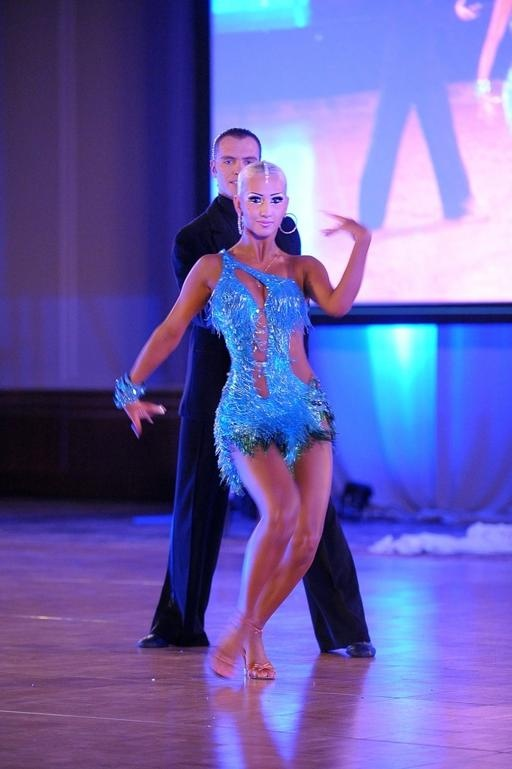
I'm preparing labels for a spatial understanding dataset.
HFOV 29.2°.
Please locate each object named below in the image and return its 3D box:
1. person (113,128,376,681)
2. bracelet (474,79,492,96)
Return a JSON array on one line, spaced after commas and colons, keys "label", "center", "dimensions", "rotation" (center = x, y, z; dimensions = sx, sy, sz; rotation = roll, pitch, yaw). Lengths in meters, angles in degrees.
[{"label": "person", "center": [0.050, 0.069, 2.698], "dimensions": [0.770, 1.484, 0.458], "rotation": [12, 13, 17]}, {"label": "bracelet", "center": [1.350, -1.773, 5.849], "dimensions": [0.087, 0.087, 0.086], "rotation": [-6, 8, -36]}]
